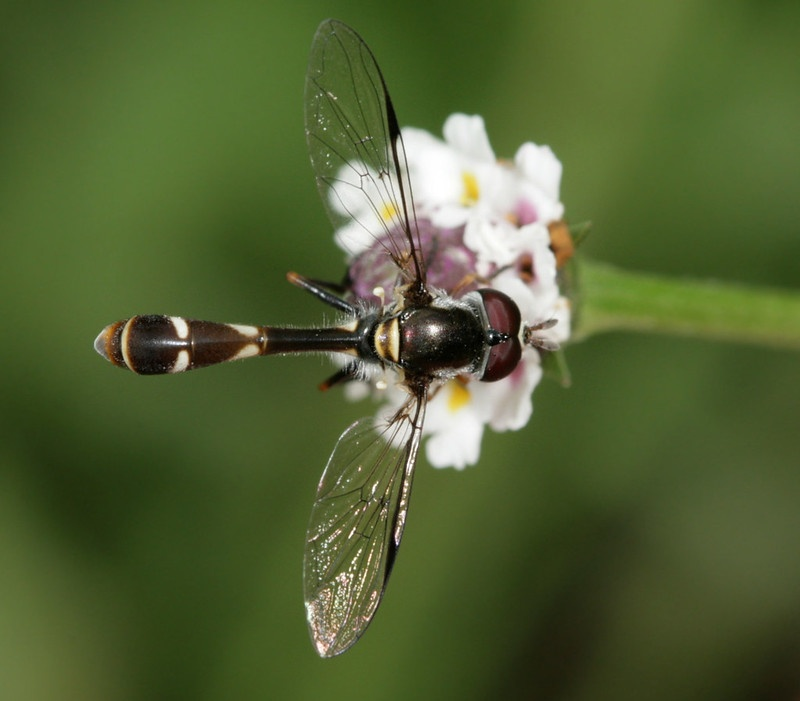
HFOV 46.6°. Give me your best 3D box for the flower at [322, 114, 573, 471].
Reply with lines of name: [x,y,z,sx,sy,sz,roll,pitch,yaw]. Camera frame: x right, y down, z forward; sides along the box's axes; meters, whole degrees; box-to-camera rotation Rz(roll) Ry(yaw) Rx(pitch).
flower: [0.134,-0.145,1.550,0.388,0.145,0.554,2,-89,21]
